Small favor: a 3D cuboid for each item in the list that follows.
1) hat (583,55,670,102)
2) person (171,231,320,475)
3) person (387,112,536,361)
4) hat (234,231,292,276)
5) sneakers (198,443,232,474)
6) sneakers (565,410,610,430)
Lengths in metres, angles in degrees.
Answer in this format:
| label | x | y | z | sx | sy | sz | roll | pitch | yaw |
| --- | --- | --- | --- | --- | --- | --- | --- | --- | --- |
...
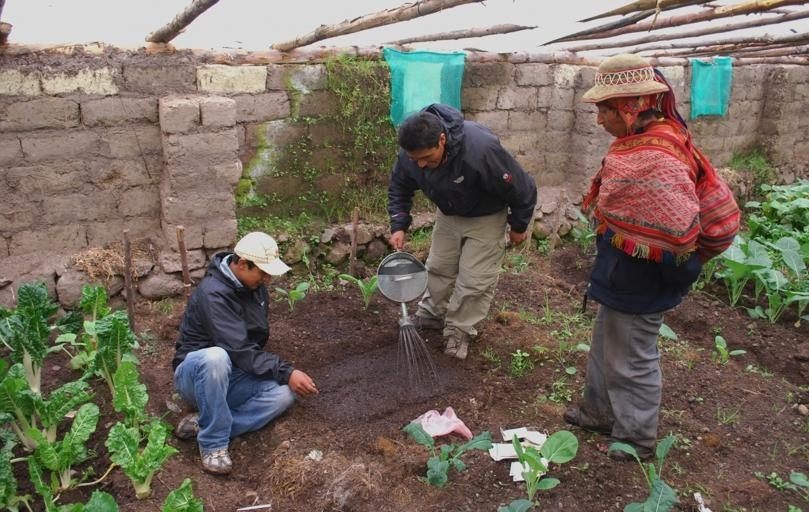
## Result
| label | x | y | z | sx | sy | sz | roll | pitch | yaw |
| --- | --- | --- | --- | --- | --- | --- | --- | --- | --- |
| hat | 1.645 | -1.253 | 4.733 | 0.458 | 0.189 | 0.444 | -23 | 14 | -34 |
| person | -1.437 | 0.779 | 5.267 | 1.104 | 1.835 | 0.843 | -10 | 20 | -22 |
| person | 0.541 | -0.242 | 6.155 | 1.322 | 2.442 | 0.785 | -7 | 19 | -13 |
| hat | -1.175 | 0.008 | 5.378 | 0.602 | 0.298 | 0.403 | -3 | -12 | 30 |
| sneakers | -1.555 | 1.680 | 5.127 | 0.240 | 0.211 | 0.164 | -5 | 18 | -11 |
| sneakers | 1.562 | 1.421 | 5.380 | 0.129 | 0.146 | 0.374 | -11 | 4 | -27 |
